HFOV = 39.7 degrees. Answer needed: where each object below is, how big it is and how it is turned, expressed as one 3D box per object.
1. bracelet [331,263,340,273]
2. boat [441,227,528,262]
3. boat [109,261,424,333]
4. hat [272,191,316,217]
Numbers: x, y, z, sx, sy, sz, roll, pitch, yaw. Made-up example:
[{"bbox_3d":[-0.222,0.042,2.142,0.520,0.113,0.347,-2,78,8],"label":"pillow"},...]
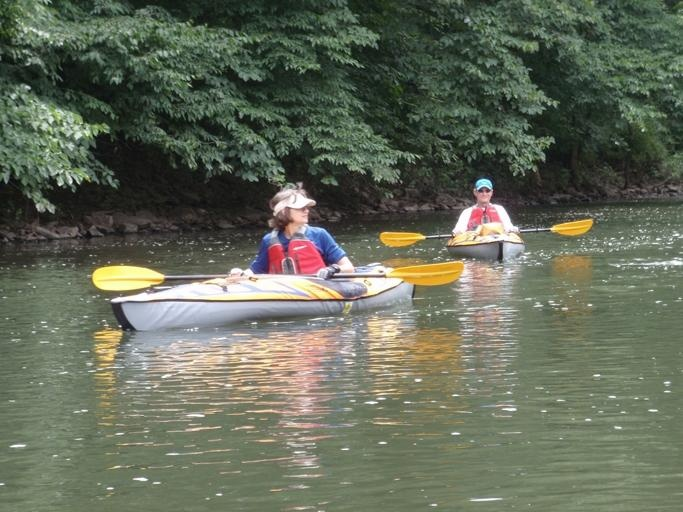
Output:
[{"bbox_3d":[-0.061,0.162,11.246,0.158,0.099,0.303,2,4,-1],"label":"bracelet"},{"bbox_3d":[2.597,-0.203,16.422,0.814,0.593,1.216,-5,3,-29],"label":"boat"},{"bbox_3d":[-0.990,0.471,11.028,4.065,0.412,0.956,-3,6,-23],"label":"boat"},{"bbox_3d":[-0.563,-0.590,11.020,0.528,0.117,0.284,-6,-2,20],"label":"hat"}]
